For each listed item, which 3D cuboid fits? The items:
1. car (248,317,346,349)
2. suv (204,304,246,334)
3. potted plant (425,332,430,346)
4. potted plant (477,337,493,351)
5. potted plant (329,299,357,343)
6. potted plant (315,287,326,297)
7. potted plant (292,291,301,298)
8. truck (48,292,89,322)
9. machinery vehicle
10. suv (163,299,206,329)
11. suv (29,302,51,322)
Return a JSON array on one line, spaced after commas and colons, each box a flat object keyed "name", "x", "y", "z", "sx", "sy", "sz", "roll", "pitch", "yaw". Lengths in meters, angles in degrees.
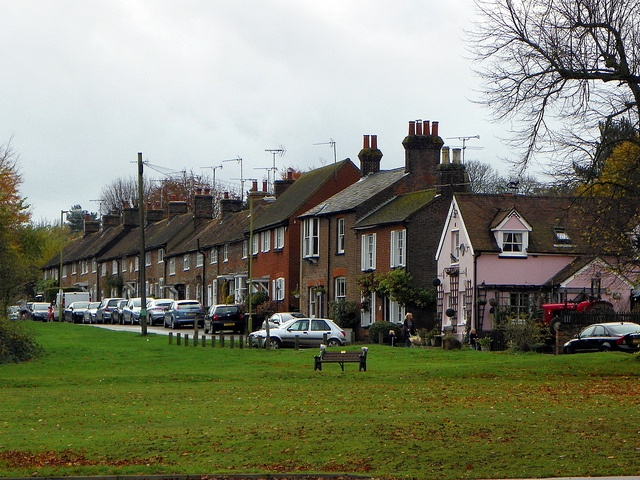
[{"name": "car", "x": -0.739, "y": 4.121, "z": 61.054, "sx": 4.160, "sy": 1.365, "sz": 3.397, "roll": 0, "pitch": -3, "yaw": -35}, {"name": "suv", "x": -4.986, "y": 3.932, "z": 70.828, "sx": 1.181, "sy": 0.879, "sz": 2.003, "roll": -1, "pitch": 1, "yaw": -18}, {"name": "potted plant", "x": 4.931, "y": 4.566, "z": 64.328, "sx": 0.259, "sy": 0.619, "sz": 0.614, "roll": -1, "pitch": -9, "yaw": 5}, {"name": "potted plant", "x": 7.221, "y": 4.555, "z": 61.139, "sx": 0.524, "sy": 0.540, "sz": 0.556, "roll": 7, "pitch": -7, "yaw": -34}, {"name": "potted plant", "x": 1.387, "y": 3.980, "z": 69.466, "sx": 1.620, "sy": 1.957, "sz": 2.015, "roll": -1, "pitch": -3, "yaw": -5}, {"name": "potted plant", "x": 0.044, "y": 2.752, "z": 73.034, "sx": 0.417, "sy": 0.358, "sz": 0.420, "roll": 2, "pitch": 3, "yaw": 34}, {"name": "potted plant", "x": -1.263, "y": 2.980, "z": 75.546, "sx": 0.359, "sy": 0.262, "sz": 0.348, "roll": 0, "pitch": 4, "yaw": -9}, {"name": "truck", "x": -16.335, "y": 4.437, "z": 91.799, "sx": 1.808, "sy": 1.481, "sz": 3.008, "roll": 0, "pitch": 1, "yaw": -21}, {"name": "machinery vehicle", "x": 11.060, "y": 2.976, "z": 60.962, "sx": 2.544, "sy": 1.228, "sz": 1.724, "roll": 1, "pitch": -5, "yaw": -9}, {"name": "suv", "x": -7.209, "y": 3.997, "z": 74.629, "sx": 1.457, "sy": 1.080, "sz": 2.431, "roll": -1, "pitch": 4, "yaw": -20}, {"name": "suv", "x": -17.910, "y": 4.623, "z": 89.675, "sx": 0.990, "sy": 0.811, "sz": 2.090, "roll": 1, "pitch": -7, "yaw": -25}]
